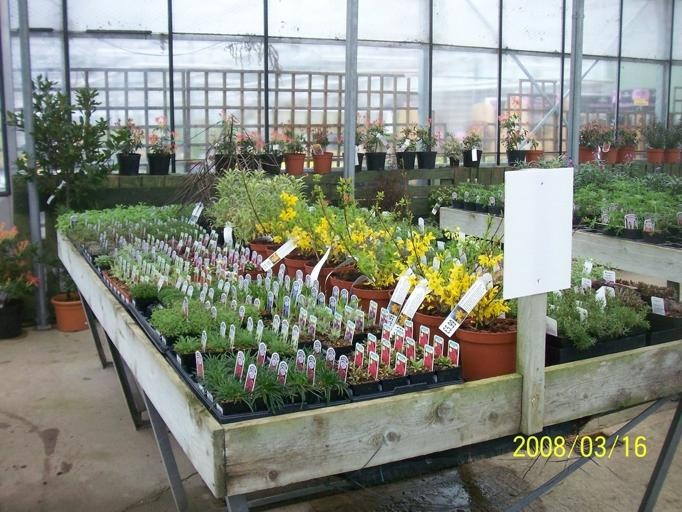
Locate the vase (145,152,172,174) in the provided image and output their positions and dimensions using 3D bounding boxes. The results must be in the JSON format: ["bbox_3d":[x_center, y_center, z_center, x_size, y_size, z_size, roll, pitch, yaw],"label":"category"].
[{"bbox_3d":[-2.363,-1.187,7.013,0.265,0.218,0.279,2,5,-3],"label":"vase"}]

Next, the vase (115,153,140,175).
[{"bbox_3d":[-2.660,-1.141,6.792,0.264,0.226,0.276,-1,5,-35],"label":"vase"}]
